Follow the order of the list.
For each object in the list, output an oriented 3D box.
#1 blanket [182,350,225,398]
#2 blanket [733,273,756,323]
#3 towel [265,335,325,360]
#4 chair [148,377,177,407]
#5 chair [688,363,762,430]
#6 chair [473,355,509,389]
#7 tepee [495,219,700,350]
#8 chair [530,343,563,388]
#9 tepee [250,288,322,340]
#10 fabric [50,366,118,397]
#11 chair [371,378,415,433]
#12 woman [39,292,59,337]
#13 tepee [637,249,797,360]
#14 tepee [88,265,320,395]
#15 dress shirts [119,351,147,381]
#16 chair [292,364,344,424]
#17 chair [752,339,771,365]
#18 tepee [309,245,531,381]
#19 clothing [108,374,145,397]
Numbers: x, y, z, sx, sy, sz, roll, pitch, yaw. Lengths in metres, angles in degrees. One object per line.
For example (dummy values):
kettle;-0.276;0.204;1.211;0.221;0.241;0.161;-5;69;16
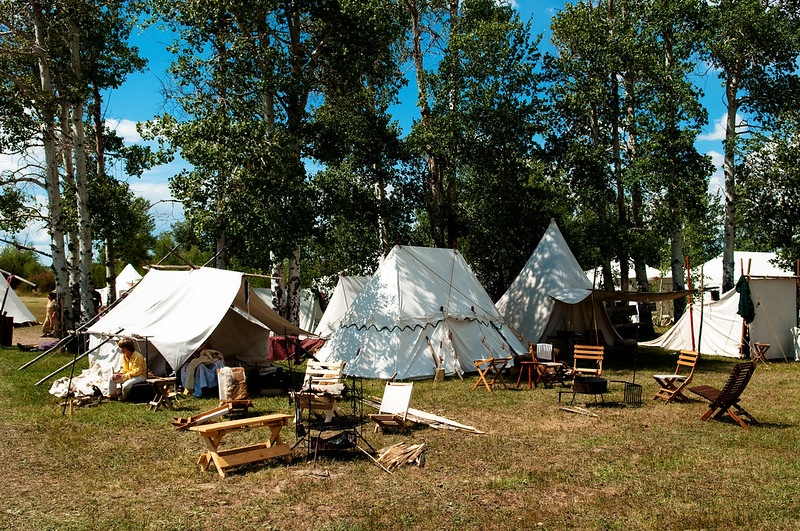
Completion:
blanket;-5.723;3.031;24.036;1.030;1.408;0.662;9;-11;-4
blanket;11.850;1.183;28.558;0.551;1.633;0.501;-1;-3;10
towel;-3.734;2.904;29.045;1.669;0.497;1.117;-2;-3;31
chair;-6.519;3.530;23.070;0.774;0.763;0.759;2;0;45
chair;8.641;3.412;22.180;1.560;1.666;1.272;-1;-3;6
chair;2.703;3.247;25.358;0.918;1.092;1.124;2;-4;-32
tepee;5.688;1.167;29.129;5.205;3.434;4.914;-1;1;5
chair;4.522;3.069;25.883;0.989;1.411;1.066;0;-3;-16
tepee;-3.993;1.786;29.745;1.769;1.265;0.150;11;-21;-19
fabric;-8.849;3.308;23.723;1.007;0.372;1.209;4;4;19
chair;-0.238;3.688;21.788;1.072;1.180;0.837;-1;-3;-3
woman;-13.581;1.871;32.334;0.484;1.740;1.653;0;-4;-26
tepee;12.255;1.909;31.894;4.224;4.287;6.078;1;-4;-24
tepee;-6.066;1.386;25.365;4.043;2.151;4.216;0;2;17
dress shirts;-7.591;2.885;23.673;0.615;0.846;0.823;-10;-13;24
chair;-2.096;3.319;22.069;1.257;1.457;1.777;-1;-3;-3
chair;12.106;2.922;28.030;0.647;0.698;0.700;2;-4;26
tepee;-0.101;1.852;27.633;4.802;2.977;4.892;2;-6;-36
clothing;-7.696;3.398;23.390;0.568;0.336;0.829;-5;-1;40
